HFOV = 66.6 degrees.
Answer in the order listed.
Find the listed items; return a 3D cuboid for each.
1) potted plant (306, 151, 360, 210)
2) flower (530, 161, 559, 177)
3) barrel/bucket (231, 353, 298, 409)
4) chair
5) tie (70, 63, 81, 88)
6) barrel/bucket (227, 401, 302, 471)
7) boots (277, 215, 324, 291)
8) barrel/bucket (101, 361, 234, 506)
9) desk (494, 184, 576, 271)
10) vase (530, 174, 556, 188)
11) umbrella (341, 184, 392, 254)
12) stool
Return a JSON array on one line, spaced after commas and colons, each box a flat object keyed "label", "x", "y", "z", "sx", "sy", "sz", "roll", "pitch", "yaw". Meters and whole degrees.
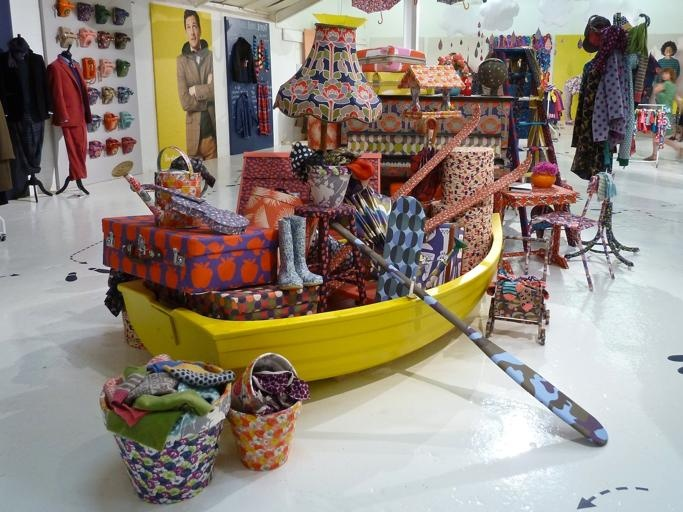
[{"label": "potted plant", "x": -0.065, "y": -0.448, "z": 2.918, "sx": 0.242, "sy": 0.356, "sz": 0.246, "roll": -10, "pitch": 21, "yaw": -31}, {"label": "flower", "x": 1.748, "y": -0.740, "z": 4.532, "sx": 0.147, "sy": 0.120, "sz": 0.161, "roll": -6, "pitch": 9, "yaw": -28}, {"label": "barrel/bucket", "x": -0.371, "y": 0.496, "z": 2.283, "sx": 0.215, "sy": 0.231, "sz": 0.308, "roll": 17, "pitch": 24, "yaw": 42}, {"label": "chair", "x": 2.047, "y": -0.288, "z": 4.418, "sx": 0.761, "sy": 1.327, "sz": 0.774, "roll": 10, "pitch": 16, "yaw": 32}, {"label": "tie", "x": -3.655, "y": -2.506, "z": 7.176, "sx": 0.141, "sy": 0.223, "sz": 0.055, "roll": 14, "pitch": 19, "yaw": 42}, {"label": "barrel/bucket", "x": -0.325, "y": 0.765, "z": 2.192, "sx": 0.294, "sy": 0.299, "sz": 0.099, "roll": -3, "pitch": 15, "yaw": -12}, {"label": "boots", "x": -0.233, "y": -0.015, "z": 2.680, "sx": 0.196, "sy": 0.408, "sz": 0.194, "roll": -7, "pitch": 23, "yaw": -31}, {"label": "barrel/bucket", "x": -0.739, "y": 0.695, "z": 2.220, "sx": 0.530, "sy": 0.535, "sz": 0.476, "roll": -7, "pitch": 25, "yaw": -23}, {"label": "desk", "x": 1.633, "y": -0.431, "z": 4.662, "sx": 0.747, "sy": 0.924, "sz": 0.717, "roll": -3, "pitch": 16, "yaw": -15}, {"label": "vase", "x": 1.744, "y": -0.638, "z": 4.542, "sx": 0.127, "sy": 0.098, "sz": 0.136, "roll": 0, "pitch": 5, "yaw": -2}, {"label": "umbrella", "x": 0.155, "y": -0.254, "z": 3.259, "sx": 0.283, "sy": 0.397, "sz": 0.105, "roll": -18, "pitch": -16, "yaw": -34}, {"label": "stool", "x": -0.064, "y": -0.023, "z": 3.019, "sx": 0.307, "sy": 0.685, "sz": 0.340, "roll": -16, "pitch": 28, "yaw": -43}]
